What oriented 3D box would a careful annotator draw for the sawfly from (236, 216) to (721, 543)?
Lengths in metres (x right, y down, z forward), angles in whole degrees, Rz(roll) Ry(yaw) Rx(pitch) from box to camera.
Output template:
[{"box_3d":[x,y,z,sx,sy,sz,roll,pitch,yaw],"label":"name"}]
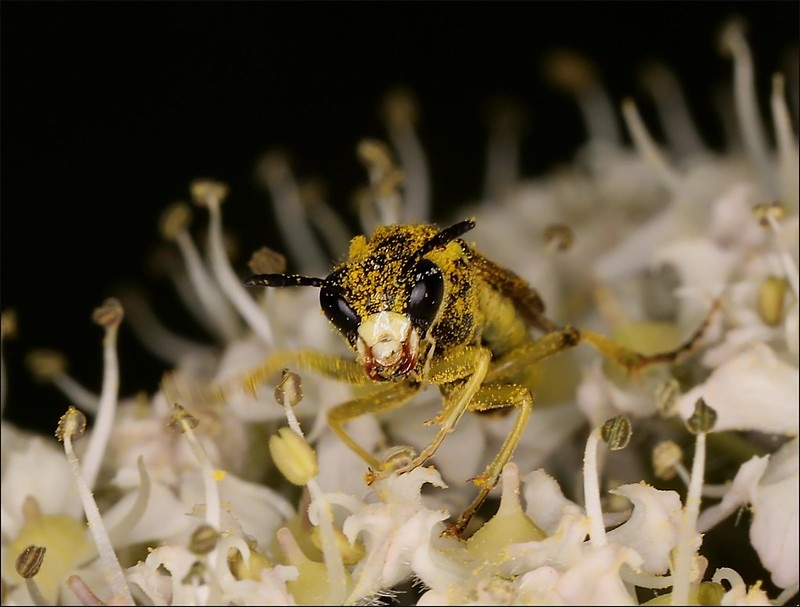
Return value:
[{"box_3d":[0.055,0.025,2.710,0.940,0.474,1.208,-5,7,15],"label":"sawfly"}]
